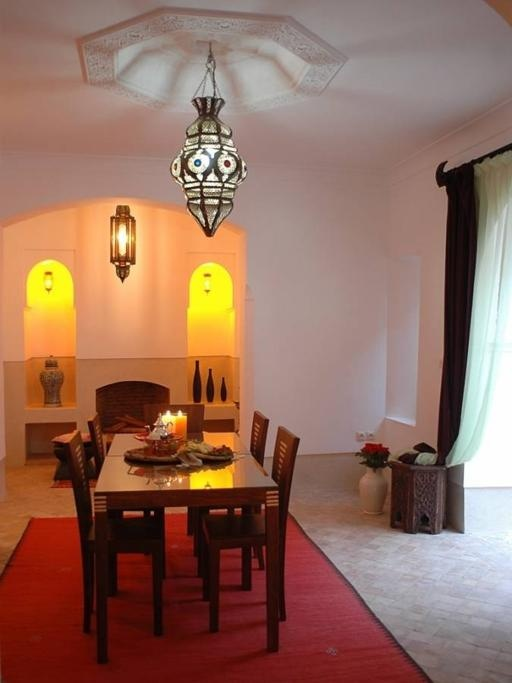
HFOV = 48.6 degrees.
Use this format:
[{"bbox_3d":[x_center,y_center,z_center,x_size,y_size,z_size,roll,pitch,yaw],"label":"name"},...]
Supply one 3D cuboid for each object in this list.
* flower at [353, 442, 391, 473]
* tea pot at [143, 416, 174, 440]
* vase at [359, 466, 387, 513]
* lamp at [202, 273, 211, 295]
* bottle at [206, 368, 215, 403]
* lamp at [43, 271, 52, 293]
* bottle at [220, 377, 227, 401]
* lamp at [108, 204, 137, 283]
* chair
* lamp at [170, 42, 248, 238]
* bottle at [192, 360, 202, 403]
[{"bbox_3d":[0.963,0.894,4.572,0.262,0.229,0.258,-10,13,-42],"label":"flower"},{"bbox_3d":[-0.515,0.445,2.987,0.163,0.156,0.119,0,1,28],"label":"tea pot"},{"bbox_3d":[0.951,1.176,4.543,0.247,0.370,0.237,3,-4,-36],"label":"vase"},{"bbox_3d":[-0.666,-0.804,7.706,0.132,0.307,0.263,1,-2,-5],"label":"lamp"},{"bbox_3d":[-0.609,0.582,7.613,0.119,0.456,0.239,1,-2,-3],"label":"bottle"},{"bbox_3d":[-2.583,-0.747,7.035,0.118,0.257,0.067,-1,6,-6],"label":"lamp"},{"bbox_3d":[-0.429,0.639,7.612,0.099,0.318,0.220,1,-2,-2],"label":"bottle"},{"bbox_3d":[-1.454,-1.092,6.166,0.266,0.888,0.392,2,-2,-15],"label":"lamp"},{"bbox_3d":[-0.331,0.858,2.567,0.992,0.830,0.739,1,-2,-8],"label":"chair"},{"bbox_3d":[-0.242,-1.021,2.824,0.339,1.069,0.768,1,-2,-8],"label":"lamp"},{"bbox_3d":[-0.783,0.520,7.554,0.129,0.555,0.298,1,-2,-7],"label":"bottle"}]
